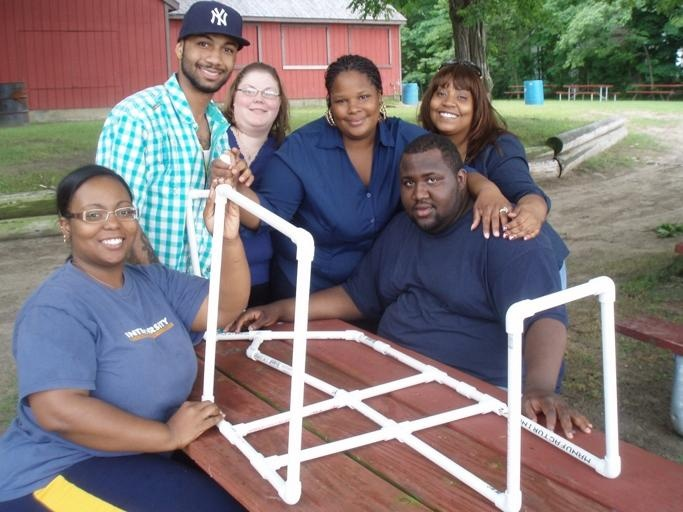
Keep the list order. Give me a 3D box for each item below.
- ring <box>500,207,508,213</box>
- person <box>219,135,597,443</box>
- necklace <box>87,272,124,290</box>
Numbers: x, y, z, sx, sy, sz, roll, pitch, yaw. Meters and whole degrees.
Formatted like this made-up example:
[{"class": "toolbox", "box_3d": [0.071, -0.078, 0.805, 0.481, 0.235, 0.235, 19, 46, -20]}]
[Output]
[{"class": "ring", "box_3d": [0.723, -0.199, 2.614, 0.041, 0.023, 0.033, 2, 18, 19]}, {"class": "person", "box_3d": [0.394, 0.062, 2.856, 1.869, 1.174, 0.979, 2, 12, 41]}, {"class": "necklace", "box_3d": [-0.850, 0.097, 2.130, 0.081, 0.019, 0.063, 20, 12, 31]}]
